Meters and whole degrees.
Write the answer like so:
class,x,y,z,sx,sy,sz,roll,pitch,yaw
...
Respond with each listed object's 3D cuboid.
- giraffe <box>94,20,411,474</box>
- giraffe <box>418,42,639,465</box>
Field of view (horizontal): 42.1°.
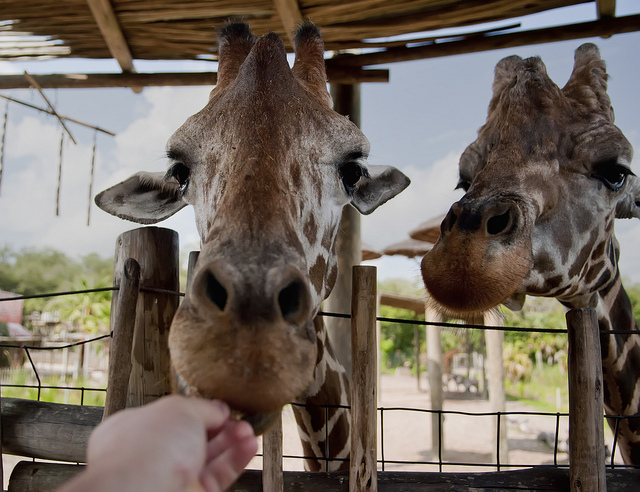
class,x,y,z,sx,sy,sz,roll,pitch,yaw
giraffe,-0.420,0.055,7.619,2.713,4.200,2.600,5,-6,-35
giraffe,2.020,-0.621,7.638,2.244,2.705,0.956,4,-6,-24
